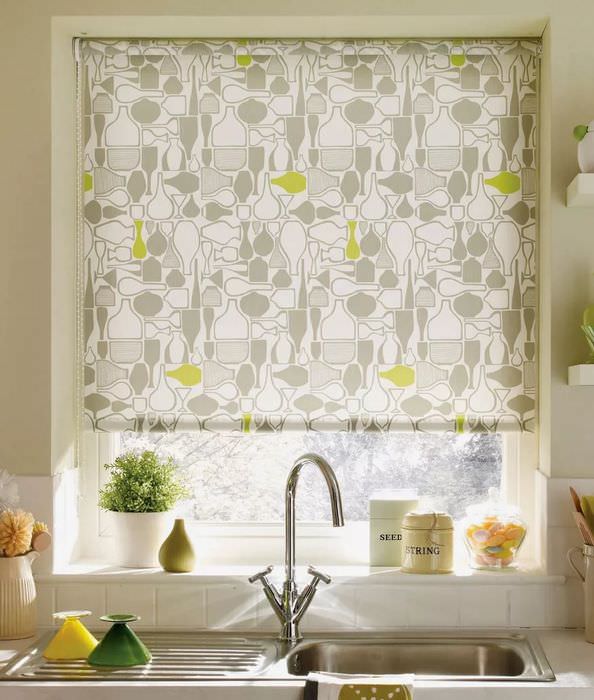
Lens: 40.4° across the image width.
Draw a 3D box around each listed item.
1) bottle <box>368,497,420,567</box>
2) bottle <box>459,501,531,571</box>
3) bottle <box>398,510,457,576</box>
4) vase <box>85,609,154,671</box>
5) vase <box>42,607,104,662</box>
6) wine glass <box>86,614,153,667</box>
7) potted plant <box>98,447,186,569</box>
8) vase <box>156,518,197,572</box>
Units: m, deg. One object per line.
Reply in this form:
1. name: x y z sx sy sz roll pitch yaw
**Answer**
1. bottle: 0.232 0.446 2.065 0.163 0.220 0.160 0 -1 0
2. bottle: 0.491 0.471 2.010 0.141 0.150 0.120 0 4 -9
3. bottle: 0.322 0.458 1.946 0.142 0.146 0.139 -1 -5 15
4. vase: -0.366 0.596 1.668 0.115 0.069 0.111 0 -2 7
5. vase: -0.483 0.613 1.756 0.109 0.068 0.107 0 -4 12
6. wine glass: -0.373 0.609 1.705 0.135 0.088 0.133 -2 -12 12
7. potted plant: -0.352 0.407 2.148 0.318 0.361 0.266 1 -8 -5
8. vase: -0.298 0.490 2.017 0.101 0.134 0.095 -3 -20 12
